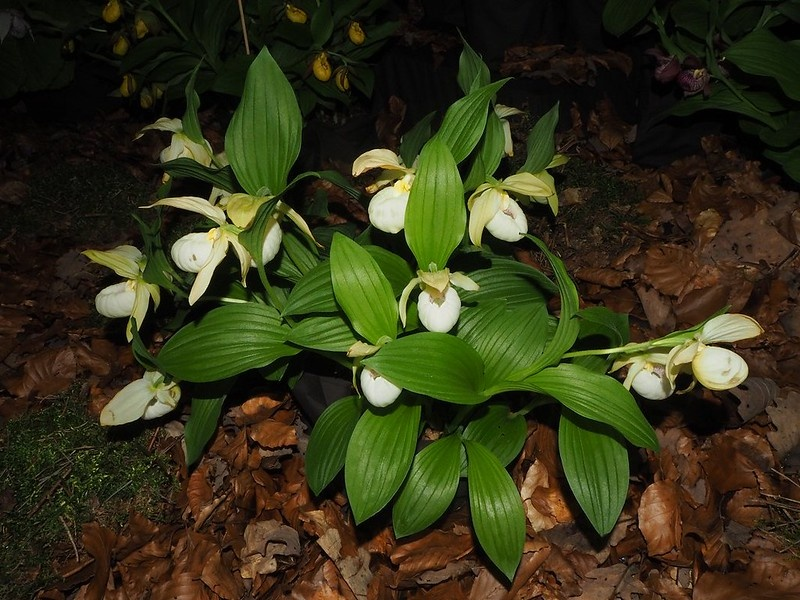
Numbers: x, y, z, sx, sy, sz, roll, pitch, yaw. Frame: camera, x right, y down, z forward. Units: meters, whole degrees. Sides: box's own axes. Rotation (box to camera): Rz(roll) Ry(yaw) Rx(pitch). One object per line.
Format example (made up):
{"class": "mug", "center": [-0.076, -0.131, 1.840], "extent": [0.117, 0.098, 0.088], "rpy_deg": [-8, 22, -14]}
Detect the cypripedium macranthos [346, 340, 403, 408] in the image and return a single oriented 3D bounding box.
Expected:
{"class": "cypripedium macranthos", "center": [-0.101, 0.467, 3.483], "extent": [0.237, 0.302, 0.137], "rpy_deg": [4, 110, 5]}

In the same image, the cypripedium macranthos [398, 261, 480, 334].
{"class": "cypripedium macranthos", "center": [0.197, -0.005, 3.436], "extent": [0.400, 0.244, 0.348], "rpy_deg": [-6, 76, 6]}

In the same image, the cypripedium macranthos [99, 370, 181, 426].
{"class": "cypripedium macranthos", "center": [-1.516, 0.576, 3.853], "extent": [0.456, 0.107, 0.260], "rpy_deg": [-31, 102, -24]}

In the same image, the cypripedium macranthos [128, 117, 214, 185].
{"class": "cypripedium macranthos", "center": [-1.294, -0.918, 3.980], "extent": [0.408, 0.195, 0.414], "rpy_deg": [24, 88, 21]}

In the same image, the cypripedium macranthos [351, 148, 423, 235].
{"class": "cypripedium macranthos", "center": [-0.077, -0.607, 3.781], "extent": [0.474, 0.207, 0.457], "rpy_deg": [18, 83, -3]}

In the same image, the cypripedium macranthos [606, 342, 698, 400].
{"class": "cypripedium macranthos", "center": [1.349, 0.378, 3.470], "extent": [0.351, 0.162, 0.340], "rpy_deg": [25, 93, 1]}
